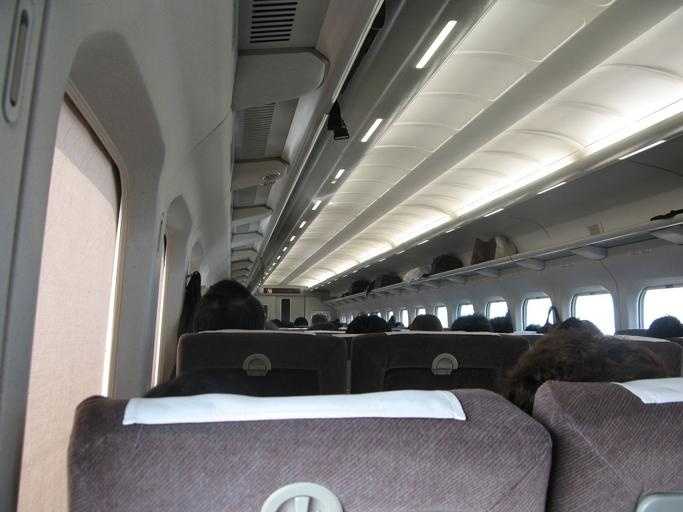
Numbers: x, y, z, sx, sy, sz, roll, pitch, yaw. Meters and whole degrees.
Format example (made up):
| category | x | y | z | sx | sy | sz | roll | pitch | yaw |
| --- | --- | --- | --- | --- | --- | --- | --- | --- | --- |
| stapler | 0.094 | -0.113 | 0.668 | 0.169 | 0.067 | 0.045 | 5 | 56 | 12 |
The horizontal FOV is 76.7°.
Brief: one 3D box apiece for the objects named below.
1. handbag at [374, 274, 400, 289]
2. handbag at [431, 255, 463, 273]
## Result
| category | x | y | z | sx | sy | sz | roll | pitch | yaw |
| --- | --- | --- | --- | --- | --- | --- | --- | --- | --- |
| handbag | 1.826 | 1.060 | 16.814 | 0.577 | 0.382 | 0.775 | 5 | -15 | -19 |
| handbag | 2.884 | 0.322 | 11.562 | 0.482 | 0.413 | 0.660 | 4 | -7 | -30 |
